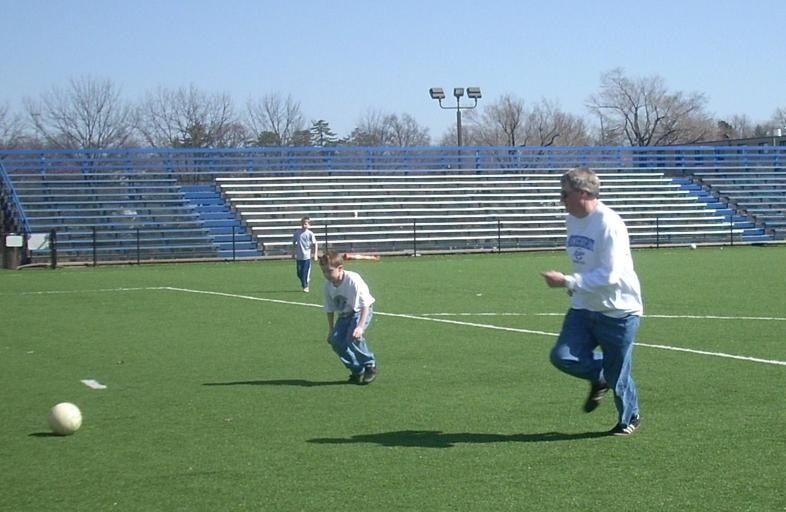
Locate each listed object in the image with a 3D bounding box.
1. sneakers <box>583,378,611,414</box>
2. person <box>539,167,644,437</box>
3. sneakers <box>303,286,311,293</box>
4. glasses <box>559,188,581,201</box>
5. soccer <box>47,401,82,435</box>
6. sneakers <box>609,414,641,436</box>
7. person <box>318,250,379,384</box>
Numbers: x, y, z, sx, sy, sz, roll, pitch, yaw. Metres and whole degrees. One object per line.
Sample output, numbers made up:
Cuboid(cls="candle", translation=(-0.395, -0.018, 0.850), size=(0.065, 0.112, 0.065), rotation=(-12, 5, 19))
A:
Cuboid(cls="sneakers", translation=(2.335, 1.611, 9.997), size=(0.158, 0.440, 0.297), rotation=(31, 9, 23))
Cuboid(cls="person", translation=(2.232, 0.525, 9.515), size=(0.979, 2.921, 0.653), rotation=(2, 14, 14))
Cuboid(cls="sneakers", translation=(-2.004, 0.766, 19.837), size=(0.123, 0.119, 0.304), rotation=(-1, -9, 0))
Cuboid(cls="glasses", translation=(1.885, -0.649, 9.434), size=(0.109, 0.156, 0.284), rotation=(-11, 15, -38))
Cuboid(cls="soccer", translation=(-3.724, 1.851, 9.932), size=(0.424, 0.359, 0.403), rotation=(3, -17, -20))
Cuboid(cls="sneakers", translation=(2.617, 1.893, 9.740), size=(0.438, 0.148, 0.139), rotation=(-4, -2, -39))
Cuboid(cls="person", translation=(-0.578, 0.754, 11.385), size=(0.672, 1.750, 1.047), rotation=(-2, 13, -2))
